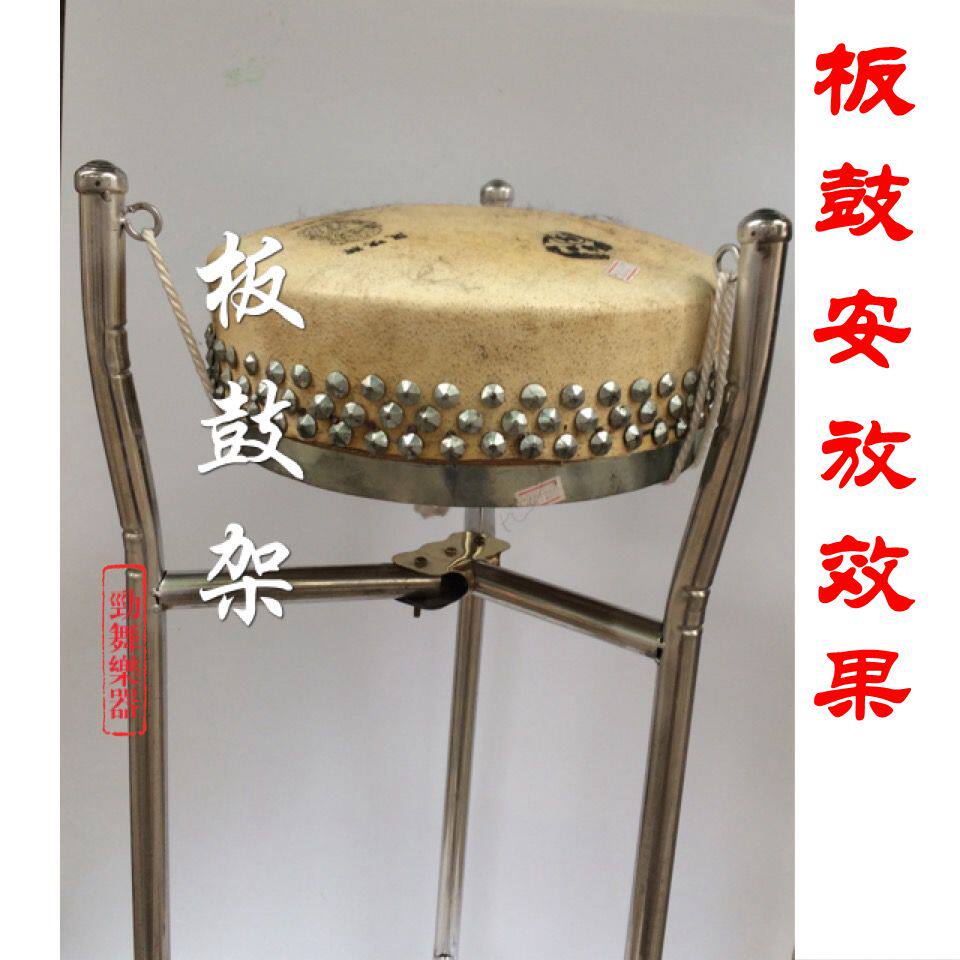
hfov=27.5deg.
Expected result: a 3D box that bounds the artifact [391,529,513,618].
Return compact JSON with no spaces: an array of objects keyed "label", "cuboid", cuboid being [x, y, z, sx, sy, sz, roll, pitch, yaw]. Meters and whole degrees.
[{"label":"artifact","cuboid":[-0.024,0.068,1.592,0.070,0.103,0.038,20,-62,31]}]

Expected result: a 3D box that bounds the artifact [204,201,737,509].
[{"label":"artifact","cuboid":[-0.034,-0.064,1.546,0.413,0.396,0.176,-2,-89,-15]}]
